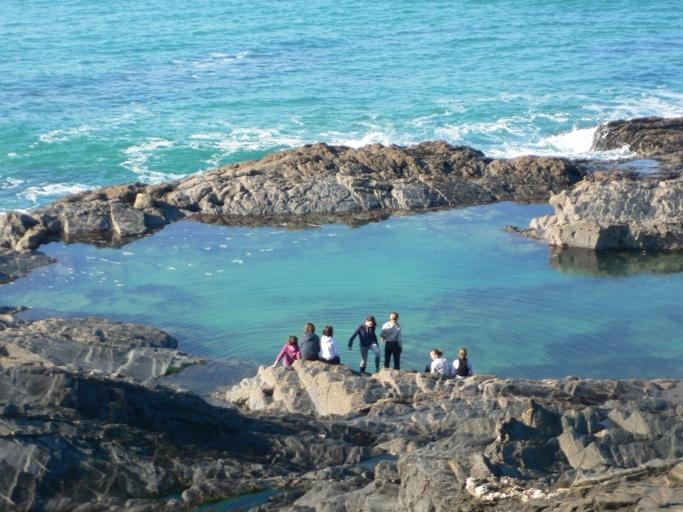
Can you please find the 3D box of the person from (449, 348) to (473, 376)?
[{"bbox_3d":[4.773,4.388,56.307,1.103,1.304,0.864,3,34,8],"label":"person"}]

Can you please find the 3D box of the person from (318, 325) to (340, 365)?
[{"bbox_3d":[-0.656,3.660,56.307,0.802,1.639,0.649,-4,16,-1],"label":"person"}]

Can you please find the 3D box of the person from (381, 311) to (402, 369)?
[{"bbox_3d":[1.946,3.504,56.891,0.836,2.421,0.925,-4,16,1],"label":"person"}]

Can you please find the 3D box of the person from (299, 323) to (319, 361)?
[{"bbox_3d":[-1.435,3.499,56.271,0.838,1.453,0.709,-4,16,-1],"label":"person"}]

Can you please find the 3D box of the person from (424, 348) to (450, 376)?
[{"bbox_3d":[3.787,4.296,56.099,0.977,1.083,1.200,-3,14,0],"label":"person"}]

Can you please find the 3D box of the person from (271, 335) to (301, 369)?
[{"bbox_3d":[-2.402,3.947,56.622,1.166,1.487,1.506,-5,14,-5],"label":"person"}]
